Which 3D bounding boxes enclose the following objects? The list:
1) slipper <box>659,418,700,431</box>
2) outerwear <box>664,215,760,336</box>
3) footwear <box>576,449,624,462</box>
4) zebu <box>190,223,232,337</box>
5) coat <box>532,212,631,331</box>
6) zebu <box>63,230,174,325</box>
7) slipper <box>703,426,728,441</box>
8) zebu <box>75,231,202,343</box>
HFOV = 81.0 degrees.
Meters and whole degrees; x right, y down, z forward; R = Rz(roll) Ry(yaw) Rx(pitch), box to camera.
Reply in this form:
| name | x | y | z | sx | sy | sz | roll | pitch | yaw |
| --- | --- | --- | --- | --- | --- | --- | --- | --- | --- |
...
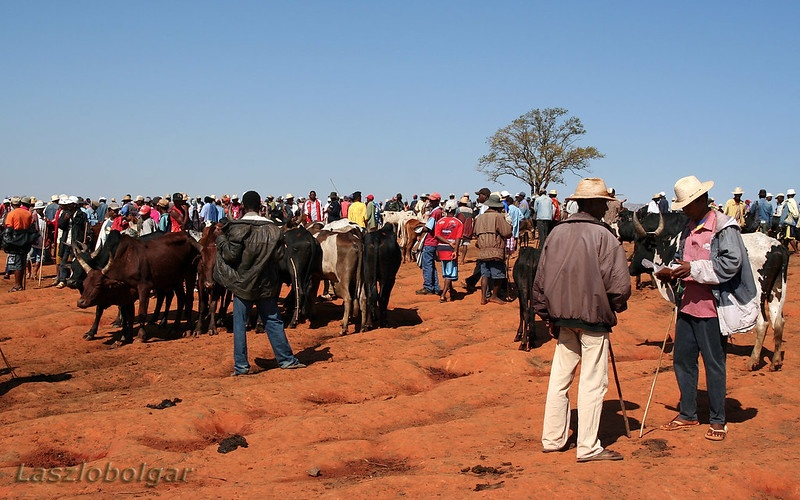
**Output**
| name | x | y | z | sx | sy | sz | roll | pitch | yaw |
| --- | --- | --- | --- | --- | --- | --- | --- | --- | --- |
| slipper | 3.997 | 2.506 | 6.750 | 0.529 | 0.156 | 0.190 | 2 | -11 | -6 |
| outerwear | 4.540 | 0.278 | 6.823 | 1.047 | 1.632 | 1.350 | -5 | 4 | 6 |
| footwear | 2.548 | 2.620 | 5.970 | 0.531 | 0.142 | 0.210 | -5 | 1 | -5 |
| zebu | -5.313 | 1.042 | 13.357 | 0.998 | 2.240 | 3.969 | 4 | 2 | -20 |
| coat | 2.482 | 0.307 | 6.253 | 0.849 | 1.509 | 1.354 | 5 | -2 | -34 |
| zebu | -7.320 | 0.775 | 12.616 | 1.090 | 2.563 | 3.887 | 8 | 19 | -4 |
| slipper | 4.337 | 2.473 | 6.429 | 0.386 | 0.213 | 0.151 | 1 | 2 | -10 |
| zebu | -6.516 | 0.940 | 12.005 | 1.304 | 2.602 | 3.536 | -2 | 4 | 19 |
